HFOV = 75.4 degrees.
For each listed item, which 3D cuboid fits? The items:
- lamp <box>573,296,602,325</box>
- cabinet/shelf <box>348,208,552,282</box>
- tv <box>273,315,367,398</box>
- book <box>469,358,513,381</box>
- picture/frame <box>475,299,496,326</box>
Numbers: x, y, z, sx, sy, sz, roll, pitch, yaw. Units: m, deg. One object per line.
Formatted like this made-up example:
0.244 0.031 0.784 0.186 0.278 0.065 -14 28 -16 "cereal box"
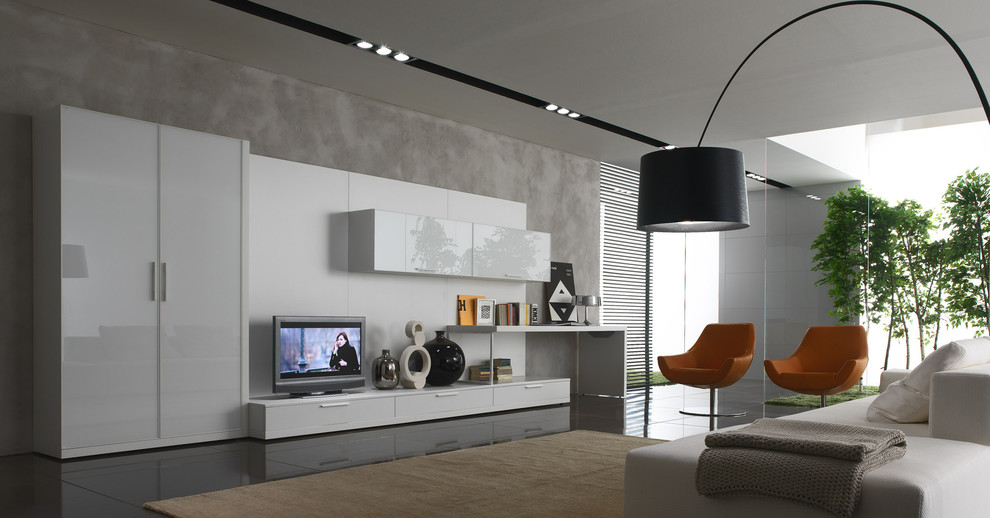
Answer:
1.458 0.825 10.386 0.550 0.472 0.502 -1 -2 -10 "lamp"
-0.606 -0.164 8.512 2.624 0.862 0.352 0 2 -31 "cabinet/shelf"
-2.095 1.152 7.451 1.138 0.768 0.261 3 -7 -39 "tv"
-0.109 1.516 8.738 0.521 0.207 0.393 3 -5 -45 "book"
-0.157 0.757 8.993 0.425 0.426 0.068 4 -7 -43 "picture/frame"
